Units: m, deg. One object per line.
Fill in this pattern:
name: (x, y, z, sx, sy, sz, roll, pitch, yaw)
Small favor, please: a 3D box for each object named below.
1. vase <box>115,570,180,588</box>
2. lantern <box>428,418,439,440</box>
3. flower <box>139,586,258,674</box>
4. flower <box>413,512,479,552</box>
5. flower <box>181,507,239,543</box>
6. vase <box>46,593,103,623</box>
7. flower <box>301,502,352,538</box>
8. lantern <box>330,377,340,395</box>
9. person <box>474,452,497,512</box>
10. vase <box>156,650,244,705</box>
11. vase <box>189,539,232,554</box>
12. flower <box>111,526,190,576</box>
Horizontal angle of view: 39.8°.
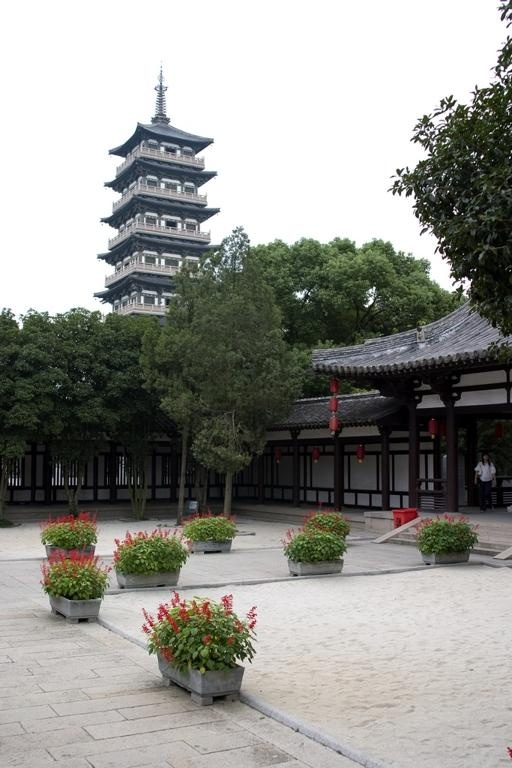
vase: (-1.478, 2.723, 9.794, 0.828, 0.239, 0.319, 1, -7, -18)
lantern: (4.416, 1.141, 17.712, 0.222, 0.481, 1.206, -3, -7, 14)
flower: (-0.497, 1.814, 5.201, 0.644, 0.477, 0.642, 24, -35, -33)
flower: (3.264, 2.626, 12.462, 0.933, 0.657, 0.963, 1, -1, 6)
flower: (-0.903, 2.906, 14.421, 0.680, 0.433, 0.765, -1, -4, 38)
vase: (-2.020, 2.470, 7.861, 0.293, 0.188, 0.541, 6, -13, -28)
flower: (1.202, 2.352, 11.919, 0.775, 0.554, 0.811, 2, -1, 1)
lantern: (1.991, 0.066, 18.081, 0.165, 0.466, 0.424, -1, -7, -1)
person: (5.738, 2.472, 17.784, 0.494, 1.351, 1.996, -3, -7, 17)
vase: (-0.409, 2.103, 5.081, 0.423, 0.252, 0.625, 5, -9, -40)
vase: (-0.918, 3.324, 14.393, 0.826, 0.253, 0.309, 0, -7, -10)
flower: (-1.524, 2.360, 10.124, 1.104, 0.670, 1.096, 2, -3, -11)
